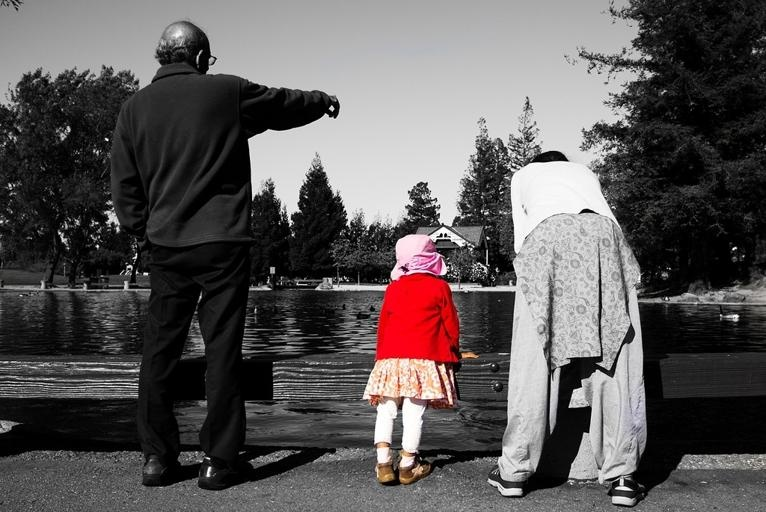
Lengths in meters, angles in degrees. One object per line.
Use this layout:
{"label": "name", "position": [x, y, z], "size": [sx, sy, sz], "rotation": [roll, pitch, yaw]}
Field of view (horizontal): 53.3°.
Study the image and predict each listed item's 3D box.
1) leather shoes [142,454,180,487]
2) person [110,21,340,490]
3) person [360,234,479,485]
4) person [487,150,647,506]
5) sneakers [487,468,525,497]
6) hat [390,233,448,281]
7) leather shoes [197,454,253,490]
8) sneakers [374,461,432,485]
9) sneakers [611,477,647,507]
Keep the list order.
{"label": "leather shoes", "position": [-1.538, 1.495, 5.316], "size": [0.128, 0.153, 0.337], "rotation": [0, -1, 6]}
{"label": "person", "position": [-1.267, 0.114, 5.403], "size": [1.292, 2.974, 0.396], "rotation": [1, -2, -13]}
{"label": "person", "position": [0.226, 0.729, 5.768], "size": [0.732, 1.805, 0.719], "rotation": [1, -2, -4]}
{"label": "person", "position": [1.282, 0.436, 5.296], "size": [0.977, 2.427, 0.517], "rotation": [0, -2, 18]}
{"label": "sneakers", "position": [0.832, 1.557, 5.238], "size": [0.115, 0.145, 0.278], "rotation": [0, 6, -15]}
{"label": "hat", "position": [0.262, -0.044, 6.089], "size": [0.274, 0.370, 0.207], "rotation": [-11, -25, -16]}
{"label": "leather shoes", "position": [-1.169, 1.527, 5.439], "size": [0.225, 0.232, 0.524], "rotation": [-2, -8, 6]}
{"label": "sneakers", "position": [0.144, 1.519, 5.494], "size": [0.407, 0.160, 0.151], "rotation": [-2, 0, -37]}
{"label": "sneakers", "position": [1.580, 1.557, 5.025], "size": [0.114, 0.130, 0.284], "rotation": [-1, -2, 26]}
